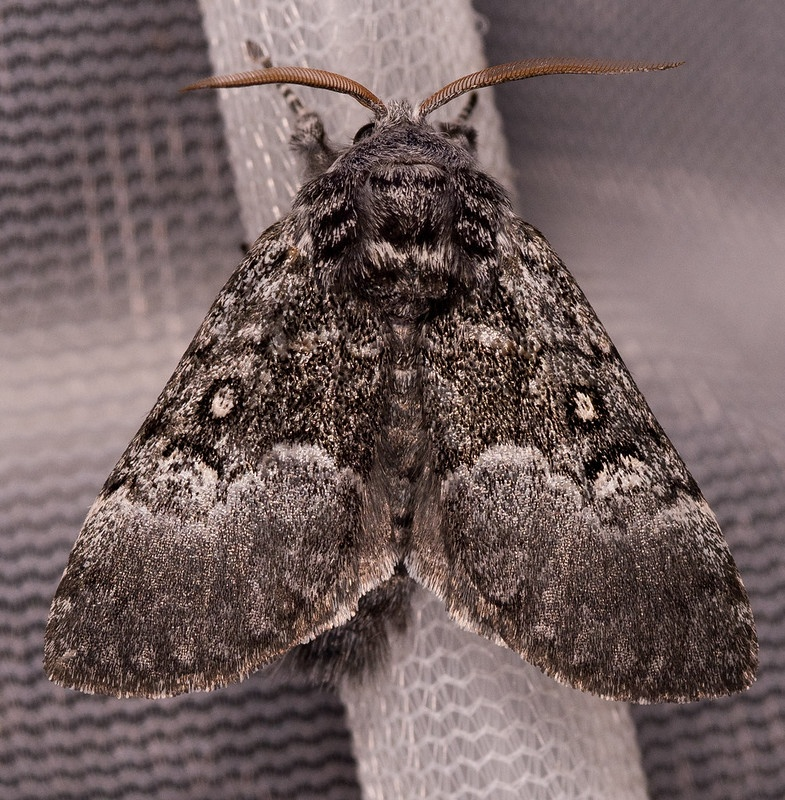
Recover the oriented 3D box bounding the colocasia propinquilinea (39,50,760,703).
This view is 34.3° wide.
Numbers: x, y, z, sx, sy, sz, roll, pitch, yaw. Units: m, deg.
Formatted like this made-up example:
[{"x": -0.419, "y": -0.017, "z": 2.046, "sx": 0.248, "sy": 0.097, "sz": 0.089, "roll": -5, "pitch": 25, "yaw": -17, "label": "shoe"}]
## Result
[{"x": -0.035, "y": -0.010, "z": 1.714, "sx": 0.757, "sy": 0.257, "sz": 0.946, "roll": -1, "pitch": 89, "yaw": 0, "label": "colocasia propinquilinea"}]
